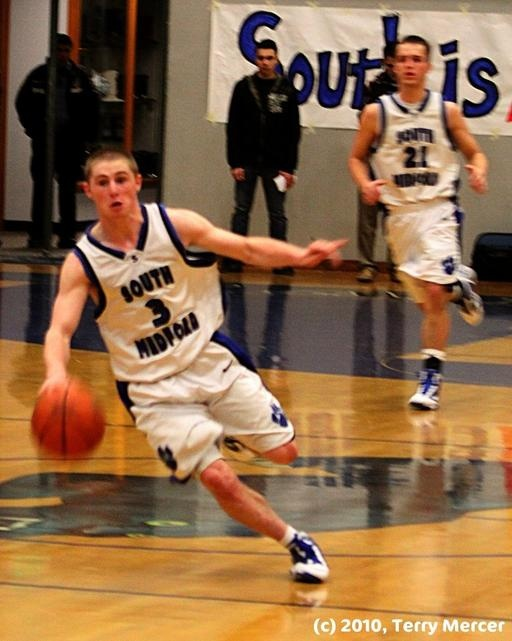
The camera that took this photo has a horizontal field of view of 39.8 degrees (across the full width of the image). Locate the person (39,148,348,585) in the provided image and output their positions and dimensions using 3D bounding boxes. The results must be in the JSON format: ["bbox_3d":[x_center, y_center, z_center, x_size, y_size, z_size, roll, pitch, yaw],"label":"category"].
[{"bbox_3d":[-0.141,0.128,1.589,0.648,0.803,0.421,1,1,5],"label":"person"}]

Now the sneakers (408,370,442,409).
[{"bbox_3d":[0.761,0.314,3.203,0.120,0.169,0.170,2,1,23],"label":"sneakers"}]

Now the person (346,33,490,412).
[{"bbox_3d":[0.726,-0.439,3.269,0.625,1.667,0.339,2,1,16],"label":"person"}]
